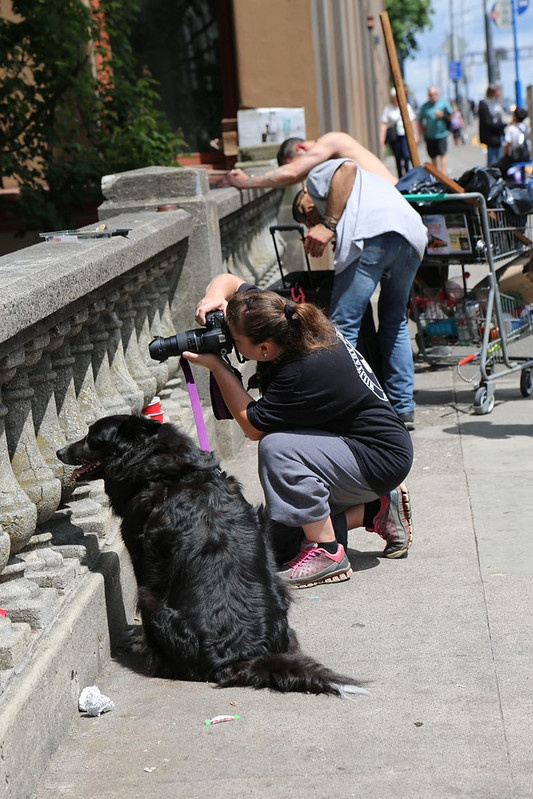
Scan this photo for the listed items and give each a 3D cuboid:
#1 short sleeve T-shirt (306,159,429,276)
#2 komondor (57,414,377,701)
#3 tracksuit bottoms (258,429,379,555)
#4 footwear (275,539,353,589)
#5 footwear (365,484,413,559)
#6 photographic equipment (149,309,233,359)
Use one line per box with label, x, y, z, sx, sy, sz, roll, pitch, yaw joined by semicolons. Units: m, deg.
short sleeve T-shirt;0.543;-1.003;4.428;0.635;0.597;0.397;-4;5;3
komondor;-0.200;0.461;2.644;0.560;0.671;1.283;-14;26;-35
tracksuit bottoms;0.190;0.283;3.490;0.486;0.615;0.575;-9;2;15
footwear;0.199;0.673;3.364;0.328;0.152;0.132;-6;23;2
footwear;0.550;0.523;3.625;0.196;0.347;0.127;-12;-6;-12
photographic equipment;-0.279;-0.225;3.191;0.304;0.170;0.163;-15;57;0
